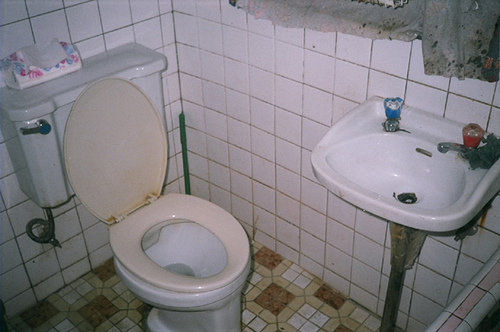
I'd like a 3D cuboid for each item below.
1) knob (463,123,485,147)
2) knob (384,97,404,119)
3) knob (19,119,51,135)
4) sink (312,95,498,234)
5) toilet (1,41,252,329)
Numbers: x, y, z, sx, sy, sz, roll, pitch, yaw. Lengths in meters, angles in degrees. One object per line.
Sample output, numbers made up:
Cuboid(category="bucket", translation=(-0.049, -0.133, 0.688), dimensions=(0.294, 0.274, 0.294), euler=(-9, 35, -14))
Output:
Cuboid(category="knob", translation=(0.836, -0.115, 1.474), dimensions=(0.066, 0.080, 0.082), euler=(24, 41, 30))
Cuboid(category="knob", translation=(0.585, -0.232, 1.594), dimensions=(0.064, 0.076, 0.041), euler=(21, 46, 33))
Cuboid(category="knob", translation=(-0.888, -0.155, 1.620), dimensions=(0.092, 0.064, 0.059), euler=(-32, 58, -34))
Cuboid(category="sink", translation=(0.586, -0.027, 1.494), dimensions=(0.637, 0.267, 0.521), euler=(20, 45, 28))
Cuboid(category="toilet", translation=(-0.518, 0.218, 1.878), dimensions=(0.751, 1.198, 1.066), euler=(-33, 46, -30))
